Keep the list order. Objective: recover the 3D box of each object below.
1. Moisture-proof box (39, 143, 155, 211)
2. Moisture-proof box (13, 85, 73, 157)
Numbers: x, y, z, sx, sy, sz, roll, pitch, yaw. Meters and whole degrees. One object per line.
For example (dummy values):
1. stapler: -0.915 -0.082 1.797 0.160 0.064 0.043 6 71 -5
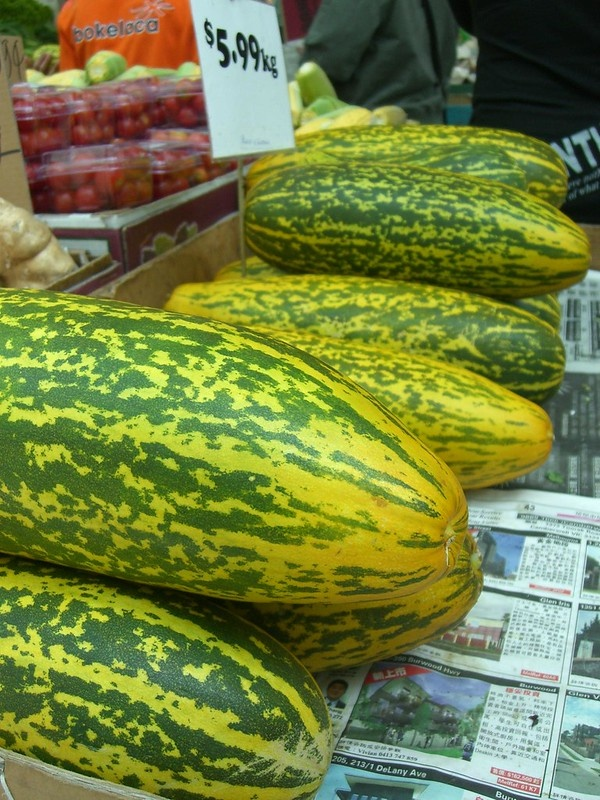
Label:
1. Moisture-proof box: -0.403 -0.417 1.474 0.197 0.085 0.135 5 31 31
2. Moisture-proof box: -0.526 -0.577 1.511 0.140 0.066 0.095 -6 8 -11
